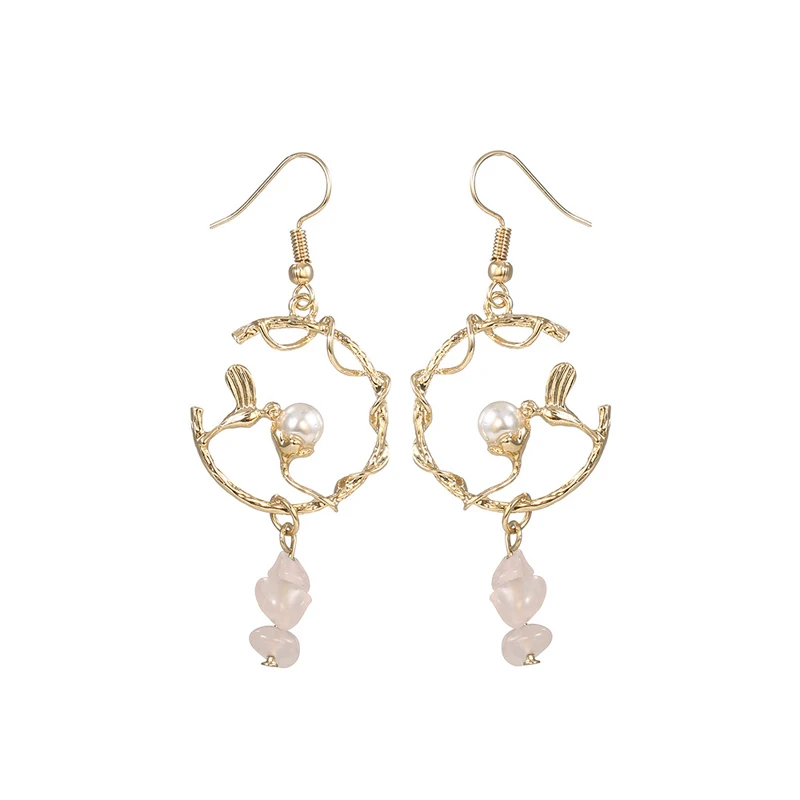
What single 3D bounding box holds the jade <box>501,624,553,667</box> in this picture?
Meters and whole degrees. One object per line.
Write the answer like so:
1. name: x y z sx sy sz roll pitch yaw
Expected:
1. jade: 0.379 0.728 3.329 0.150 0.112 0.052 -6 -5 3
